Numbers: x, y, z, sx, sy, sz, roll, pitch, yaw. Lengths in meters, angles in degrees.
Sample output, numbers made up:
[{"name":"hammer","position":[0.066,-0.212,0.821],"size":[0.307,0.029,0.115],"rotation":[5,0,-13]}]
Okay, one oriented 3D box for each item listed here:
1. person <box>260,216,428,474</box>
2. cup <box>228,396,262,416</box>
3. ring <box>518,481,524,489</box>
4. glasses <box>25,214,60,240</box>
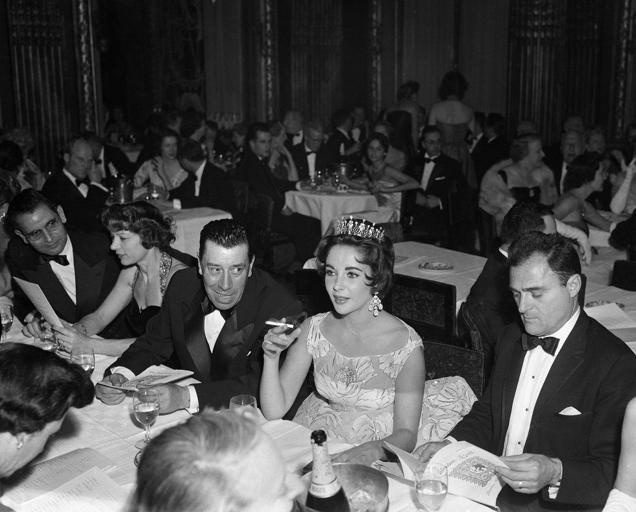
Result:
[{"name":"person","position":[0.116,0.533,2.692],"size":[0.682,1.398,0.586],"rotation":[3,15,12]},{"name":"cup","position":[-0.276,0.530,2.169],"size":[0.083,0.095,0.090],"rotation":[1,-5,0]},{"name":"ring","position":[0.684,0.774,2.001],"size":[0.014,0.038,0.016],"rotation":[4,17,19]},{"name":"glasses","position":[-1.671,-0.173,3.617],"size":[0.125,0.066,0.163],"rotation":[-38,9,-12]}]
